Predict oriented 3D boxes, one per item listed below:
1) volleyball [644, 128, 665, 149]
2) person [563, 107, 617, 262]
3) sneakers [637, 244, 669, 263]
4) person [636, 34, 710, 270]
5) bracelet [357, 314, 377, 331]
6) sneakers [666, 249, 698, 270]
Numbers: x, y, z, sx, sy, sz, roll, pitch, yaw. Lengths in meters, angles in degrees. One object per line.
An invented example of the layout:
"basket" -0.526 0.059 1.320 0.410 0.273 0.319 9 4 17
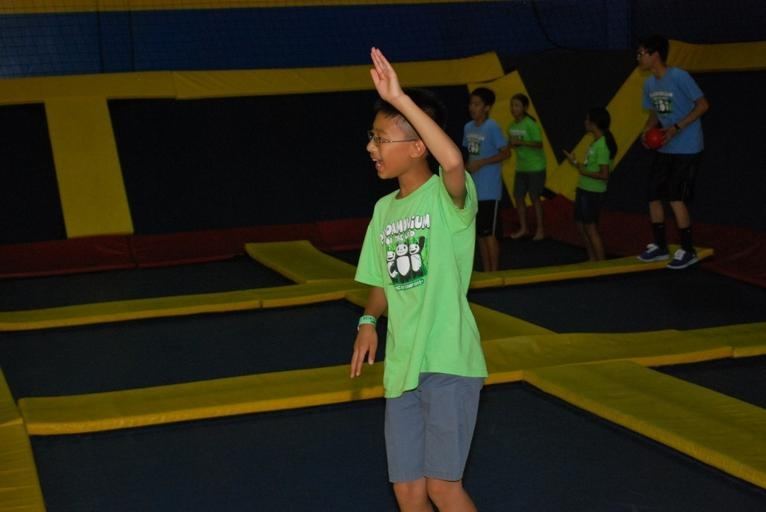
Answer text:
"volleyball" 2.080 -0.889 4.728 0.150 0.148 0.181 -10 -6 35
"person" 1.798 -0.601 5.285 0.391 1.348 0.431 1 13 16
"sneakers" 2.364 -0.033 5.283 0.315 0.143 0.116 -1 1 -15
"person" 2.304 -0.790 4.895 0.486 1.902 0.560 3 14 27
"bracelet" -0.067 0.268 2.300 0.069 0.045 0.070 0 12 9
"sneakers" 2.519 0.027 5.107 0.306 0.144 0.128 -10 7 -35
